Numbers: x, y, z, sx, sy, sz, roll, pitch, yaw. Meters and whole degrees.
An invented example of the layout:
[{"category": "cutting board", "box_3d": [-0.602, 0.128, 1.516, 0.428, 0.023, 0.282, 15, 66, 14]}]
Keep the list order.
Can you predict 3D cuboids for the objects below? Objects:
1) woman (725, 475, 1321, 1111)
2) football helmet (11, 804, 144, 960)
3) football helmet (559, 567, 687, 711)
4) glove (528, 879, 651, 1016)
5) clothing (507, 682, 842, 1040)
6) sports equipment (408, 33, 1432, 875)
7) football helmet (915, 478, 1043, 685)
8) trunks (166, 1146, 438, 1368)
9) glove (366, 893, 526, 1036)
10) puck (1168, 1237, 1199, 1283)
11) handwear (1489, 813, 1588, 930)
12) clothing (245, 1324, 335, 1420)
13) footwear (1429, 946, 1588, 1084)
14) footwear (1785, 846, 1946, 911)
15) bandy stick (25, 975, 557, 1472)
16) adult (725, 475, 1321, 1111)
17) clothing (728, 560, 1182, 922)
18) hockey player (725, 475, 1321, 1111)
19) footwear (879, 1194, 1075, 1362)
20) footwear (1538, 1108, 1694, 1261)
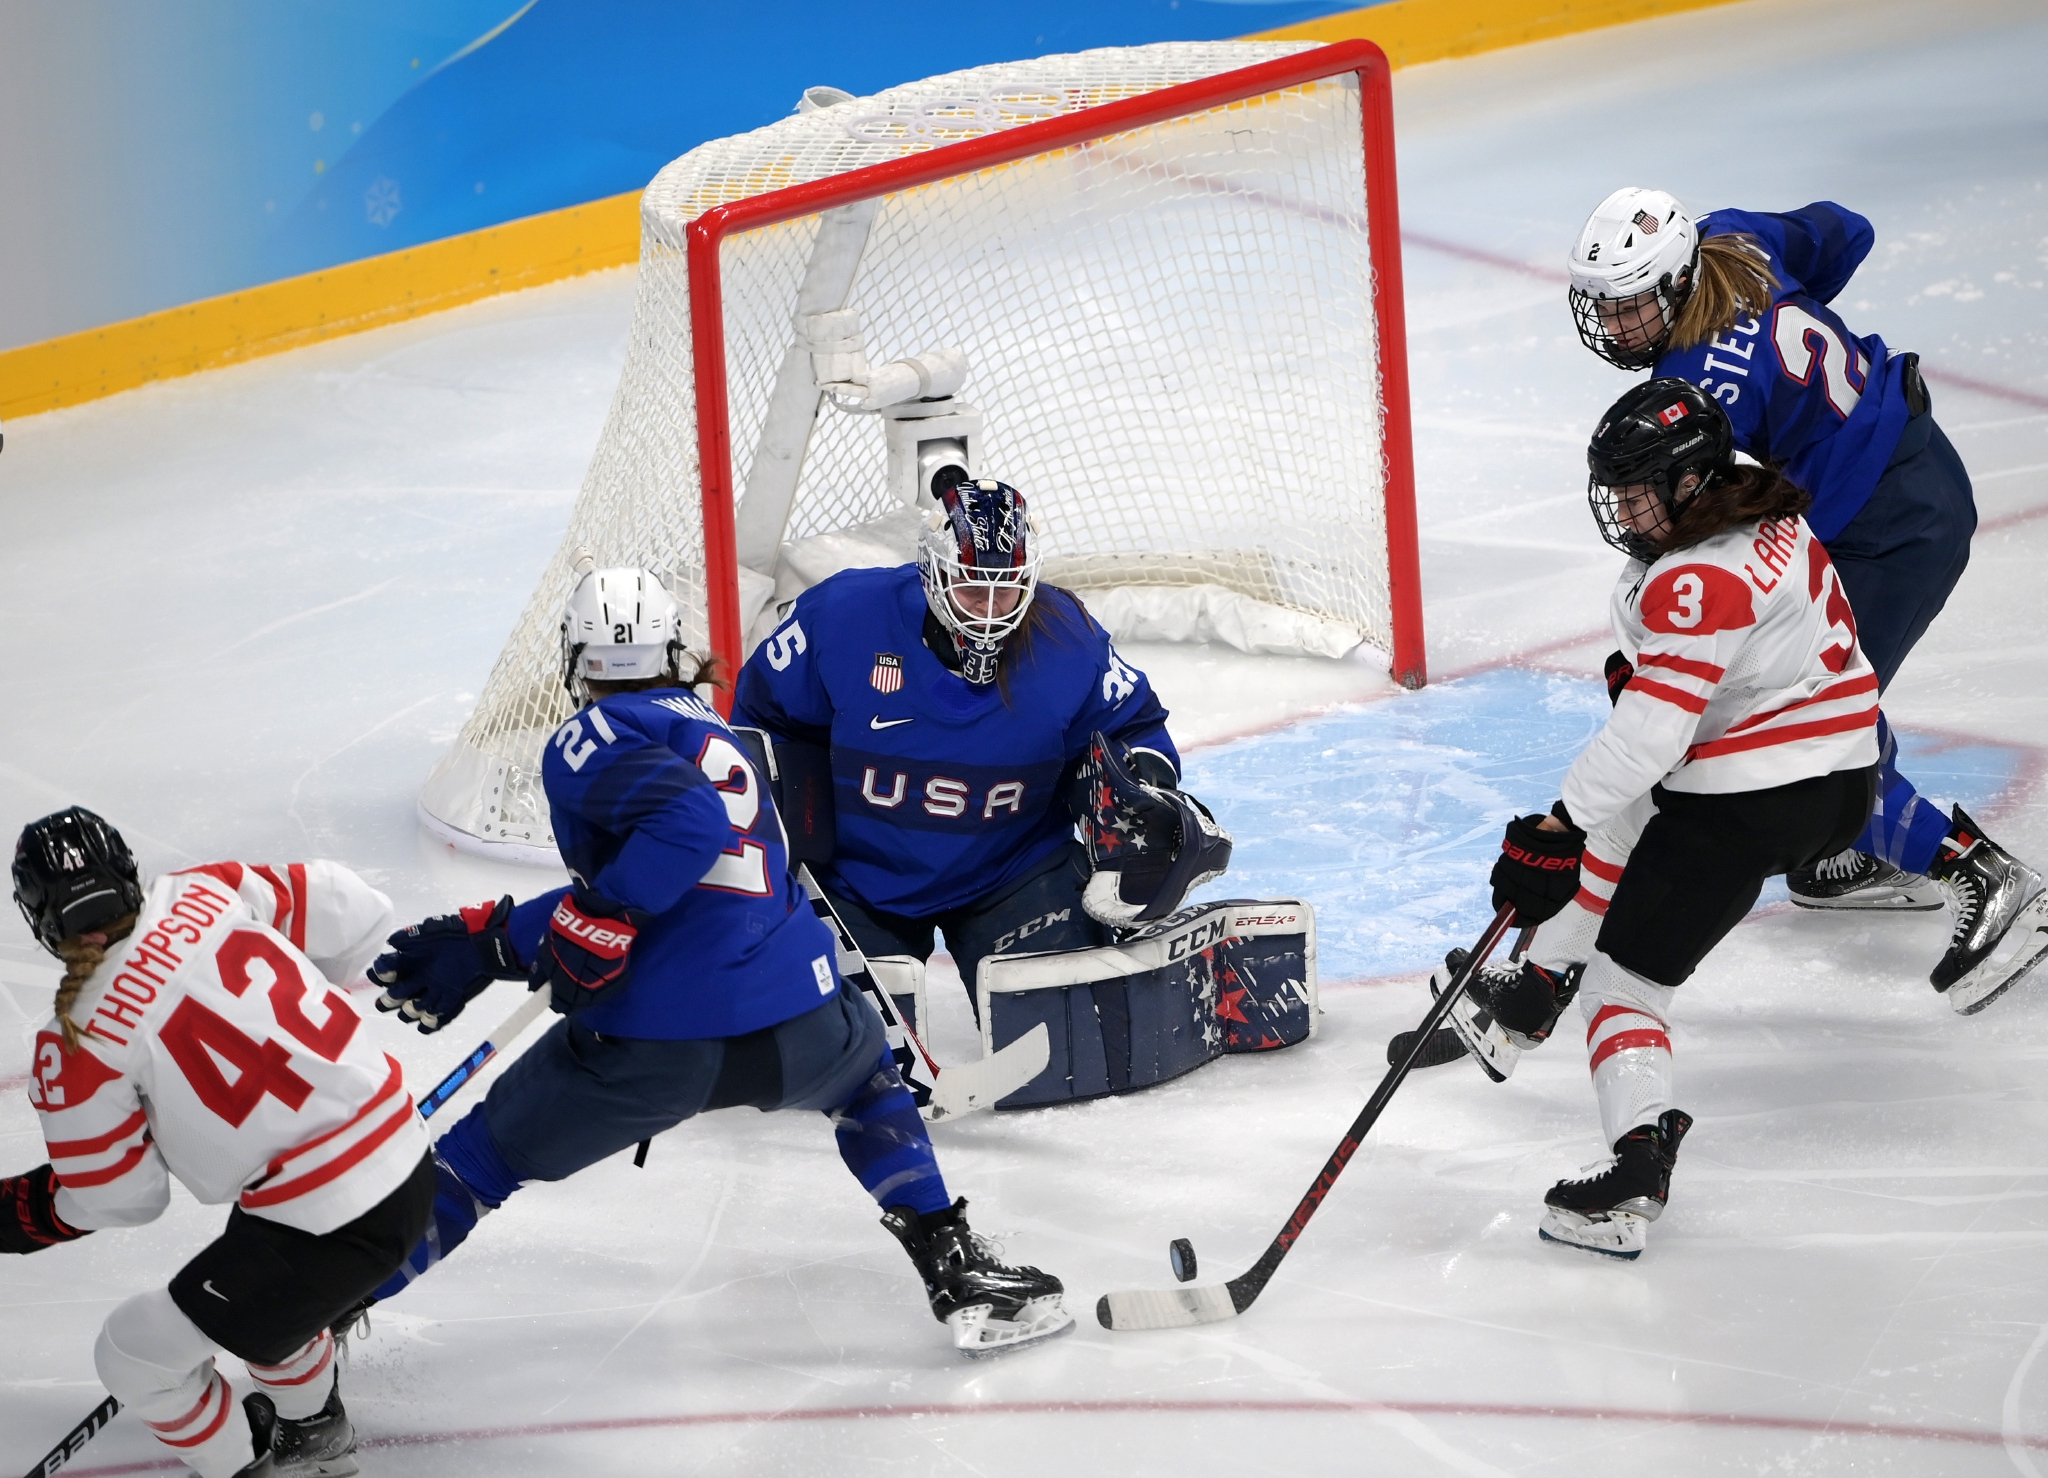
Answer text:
[{"category": "woman", "box_3d": [-0.020, 0.140, 4.618, 1.207, 0.946, 0.670, -8, 40, -15]}, {"category": "football helmet", "box_3d": [-1.369, 0.208, 3.358, 0.157, 0.200, 0.127, -16, 19, -24]}, {"category": "football helmet", "box_3d": [-0.662, -0.165, 3.855, 0.215, 0.231, 0.259, -4, 13, -21]}, {"category": "glove", "box_3d": [-0.679, 0.329, 3.664, 0.153, 0.194, 0.060, 31, 16, 11]}, {"category": "clothing", "box_3d": [-0.571, 0.172, 3.869, 0.552, 0.525, 0.607, 4, 10, -4]}, {"category": "sports equipment", "box_3d": [-0.200, -0.691, 5.806, 2.439, 1.503, 1.335, -16, 29, -29]}, {"category": "football helmet", "box_3d": [-0.102, -0.341, 4.325, 0.243, 0.316, 0.344, 1, 36, -7]}, {"category": "trunks", "box_3d": [-1.083, 0.778, 3.500, 0.380, 0.220, 0.271, -35, 21, 15]}, {"category": "glove", "box_3d": [-0.969, 0.350, 3.835, 0.094, 0.170, 0.281, -3, 13, 21]}, {"category": "puck", "box_3d": [0.265, 0.872, 3.892, 0.030, 0.080, 0.083, -7, 1, -14]}, {"category": "handwear", "box_3d": [0.896, 0.232, 4.101, 0.144, 0.181, 0.192, 18, 6, 25]}, {"category": "clothing", "box_3d": [-1.096, 0.981, 3.583, 0.133, 0.153, 0.154, -2, 59, 1]}, {"category": "footwear", "box_3d": [0.870, 0.442, 4.199, 0.093, 0.266, 0.268, 10, 38, -32]}, {"category": "footwear", "box_3d": [1.697, 0.277, 4.653, 0.278, 0.147, 0.089, 2, 36, 6]}, {"category": "bandy stick", "box_3d": [-1.133, 0.766, 3.582, 1.078, 0.138, 0.048, -42, 47, -5]}, {"category": "adult", "box_3d": [-0.020, 0.140, 4.618, 1.207, 0.946, 0.670, -8, 40, -15]}, {"category": "clothing", "box_3d": [-0.086, 0.005, 4.569, 0.960, 0.669, 0.462, 10, 29, 14]}, {"category": "hockey player", "box_3d": [-0.020, 0.140, 4.618, 1.207, 0.946, 0.670, -8, 40, -15]}, {"category": "footwear", "box_3d": [-0.060, 0.880, 3.824, 0.287, 0.092, 0.252, 1, 59, -41]}, {"category": "footwear", "box_3d": [0.992, 0.750, 3.933, 0.086, 0.256, 0.266, 23, -14, -32]}]
